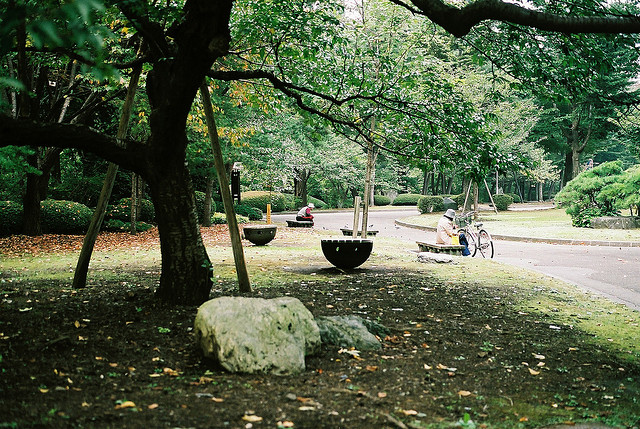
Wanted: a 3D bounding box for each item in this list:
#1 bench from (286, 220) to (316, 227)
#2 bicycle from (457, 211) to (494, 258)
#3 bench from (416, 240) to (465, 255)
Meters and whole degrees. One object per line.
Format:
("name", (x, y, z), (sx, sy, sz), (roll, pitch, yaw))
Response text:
("bench", (-0.913, 0.499, 26.688), (0.942, 0.328, 1.452), (-1, 6, -26))
("bicycle", (5.132, 0.695, 17.166), (2.120, 1.141, 0.807), (2, -8, -41))
("bench", (3.645, 1.036, 15.874), (1.069, 0.406, 1.608), (0, 6, -21))
